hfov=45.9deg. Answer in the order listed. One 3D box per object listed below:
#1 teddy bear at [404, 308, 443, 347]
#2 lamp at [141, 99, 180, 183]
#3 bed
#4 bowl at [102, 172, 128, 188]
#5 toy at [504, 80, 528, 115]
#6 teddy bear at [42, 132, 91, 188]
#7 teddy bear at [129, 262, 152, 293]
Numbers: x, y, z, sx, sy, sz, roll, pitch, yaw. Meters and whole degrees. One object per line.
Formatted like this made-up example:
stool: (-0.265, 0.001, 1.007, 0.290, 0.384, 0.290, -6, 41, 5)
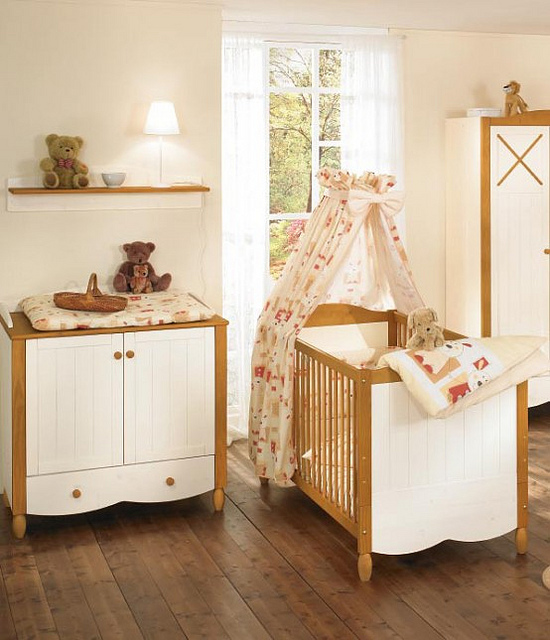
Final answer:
teddy bear: (0.541, 0.033, 2.359, 0.150, 0.148, 0.105, -10, 14, 0)
lamp: (-0.517, -0.822, 2.972, 0.167, 0.382, 0.176, -3, 7, -8)
bed: (0.534, 0.462, 2.499, 0.739, 0.729, 0.666, -3, 7, -15)
bowl: (-0.705, -0.616, 2.881, 0.085, 0.047, 0.082, -2, 3, 0)
toy: (1.339, -1.223, 3.582, 0.122, 0.204, 0.154, -2, 7, -2)
teddy bear: (-0.917, -0.696, 2.809, 0.259, 0.272, 0.181, -4, 21, -32)
teddy bear: (-0.615, -0.194, 2.973, 0.097, 0.138, 0.054, -3, 8, -13)
